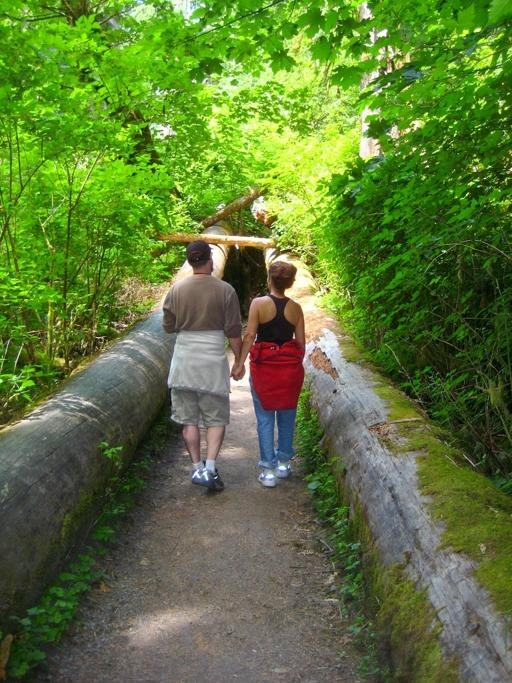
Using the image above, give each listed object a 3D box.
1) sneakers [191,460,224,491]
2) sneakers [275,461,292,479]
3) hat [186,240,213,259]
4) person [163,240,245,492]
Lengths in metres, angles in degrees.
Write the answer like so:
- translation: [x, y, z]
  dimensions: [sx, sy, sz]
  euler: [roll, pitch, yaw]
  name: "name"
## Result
- translation: [-0.360, 1.033, 3.892]
  dimensions: [0.138, 0.140, 0.324]
  euler: [17, -11, 21]
  name: "sneakers"
- translation: [0.221, 1.047, 4.161]
  dimensions: [0.070, 0.192, 0.080]
  euler: [-1, 56, 3]
  name: "sneakers"
- translation: [-0.414, -0.650, 3.689]
  dimensions: [0.176, 0.142, 0.198]
  euler: [0, 10, -6]
  name: "hat"
- translation: [-0.400, 0.221, 3.784]
  dimensions: [0.575, 1.878, 0.353]
  euler: [1, 11, -3]
  name: "person"
